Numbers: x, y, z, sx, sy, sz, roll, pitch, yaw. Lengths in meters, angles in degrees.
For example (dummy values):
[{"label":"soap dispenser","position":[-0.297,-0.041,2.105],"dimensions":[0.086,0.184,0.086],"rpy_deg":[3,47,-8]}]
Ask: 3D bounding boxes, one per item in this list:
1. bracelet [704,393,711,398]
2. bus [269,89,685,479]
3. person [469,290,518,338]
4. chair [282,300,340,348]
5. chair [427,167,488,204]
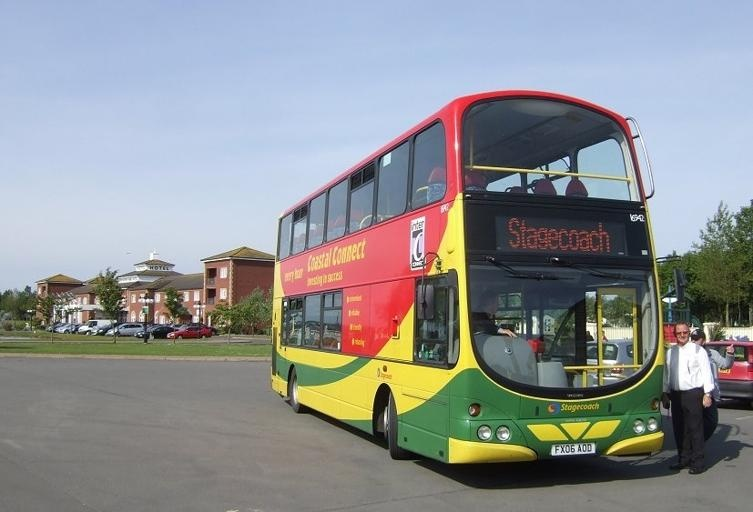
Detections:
[{"label":"bracelet","position":[5.379,2.279,10.530],"dimensions":[0.068,0.066,0.068],"rpy_deg":[4,-4,-43]},{"label":"bus","position":[1.257,0.927,14.867],"dimensions":[3.977,4.790,10.968],"rpy_deg":[3,-7,-19]},{"label":"person","position":[1.698,0.869,9.824],"dimensions":[1.230,0.650,0.362],"rpy_deg":[4,-17,-27]},{"label":"chair","position":[-1.597,1.579,15.531],"dimensions":[0.818,0.788,2.803],"rpy_deg":[3,-3,-18]},{"label":"chair","position":[1.351,-1.159,10.456],"dimensions":[0.547,0.474,0.774],"rpy_deg":[6,12,42]}]
